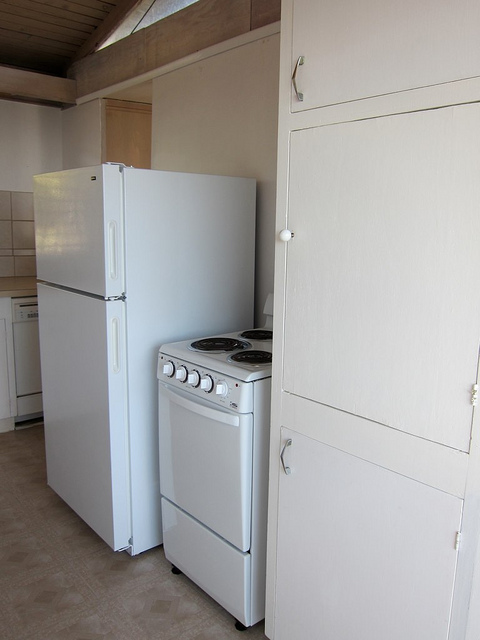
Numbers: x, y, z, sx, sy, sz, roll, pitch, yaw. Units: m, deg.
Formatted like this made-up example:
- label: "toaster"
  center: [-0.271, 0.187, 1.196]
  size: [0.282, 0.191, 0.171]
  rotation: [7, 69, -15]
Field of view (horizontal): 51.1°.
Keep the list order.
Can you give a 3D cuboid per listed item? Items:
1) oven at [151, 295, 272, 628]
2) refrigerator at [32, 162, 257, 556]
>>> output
- label: "oven"
  center: [0.008, 0.455, 1.849]
  size: [0.599, 1.022, 0.664]
  rotation: [2, 9, 8]
- label: "refrigerator"
  center: [-0.451, 0.042, 2.295]
  size: [0.796, 1.910, 0.700]
  rotation: [-6, 12, -41]
